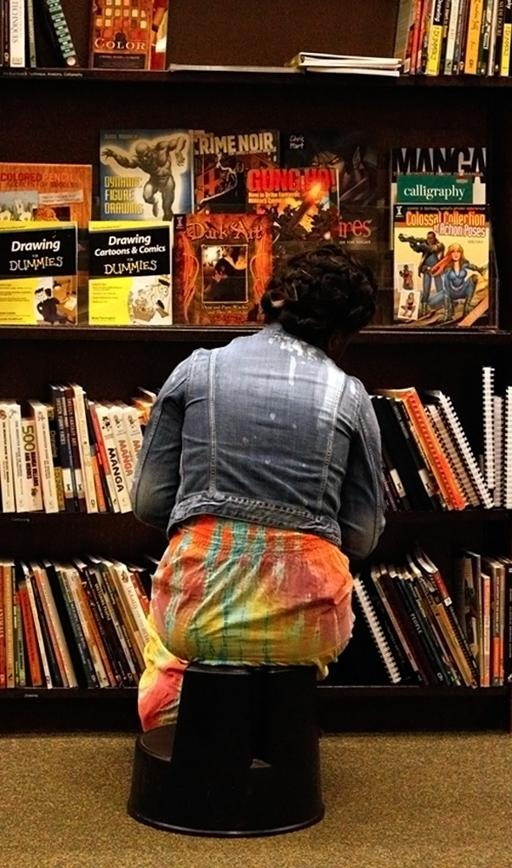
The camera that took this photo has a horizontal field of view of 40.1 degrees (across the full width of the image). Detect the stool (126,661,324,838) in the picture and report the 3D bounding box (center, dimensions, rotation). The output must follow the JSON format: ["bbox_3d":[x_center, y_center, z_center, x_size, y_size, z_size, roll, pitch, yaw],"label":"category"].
[{"bbox_3d":[-0.036,0.486,1.177,0.285,0.207,0.278,4,-1,-42],"label":"stool"}]

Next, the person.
[{"bbox_3d":[-0.011,0.108,1.179,0.443,0.850,0.284,0,-7,9],"label":"person"}]
